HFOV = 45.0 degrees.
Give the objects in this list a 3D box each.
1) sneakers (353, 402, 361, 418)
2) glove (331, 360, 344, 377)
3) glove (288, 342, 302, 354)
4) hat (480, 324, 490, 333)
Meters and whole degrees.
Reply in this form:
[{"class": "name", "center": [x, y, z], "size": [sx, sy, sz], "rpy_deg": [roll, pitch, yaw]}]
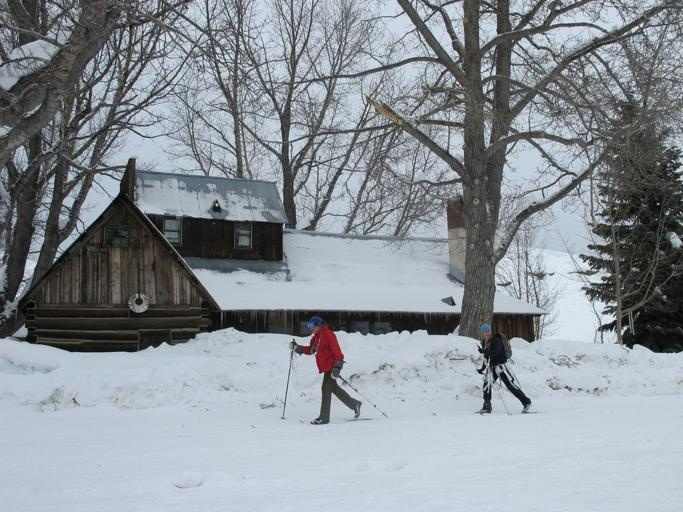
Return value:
[{"class": "sneakers", "center": [0.370, 3.891, 20.879], "size": [0.168, 0.466, 0.139], "rpy_deg": [2, 1, 29]}, {"class": "glove", "center": [-0.123, 2.809, 20.714], "size": [0.270, 0.438, 0.350], "rpy_deg": [0, 7, -1]}, {"class": "glove", "center": [-1.246, 2.443, 21.603], "size": [0.313, 0.437, 0.235], "rpy_deg": [-6, 13, -40]}, {"class": "hat", "center": [3.885, 1.973, 22.387], "size": [0.218, 0.238, 0.276], "rpy_deg": [-1, -1, 22]}]
